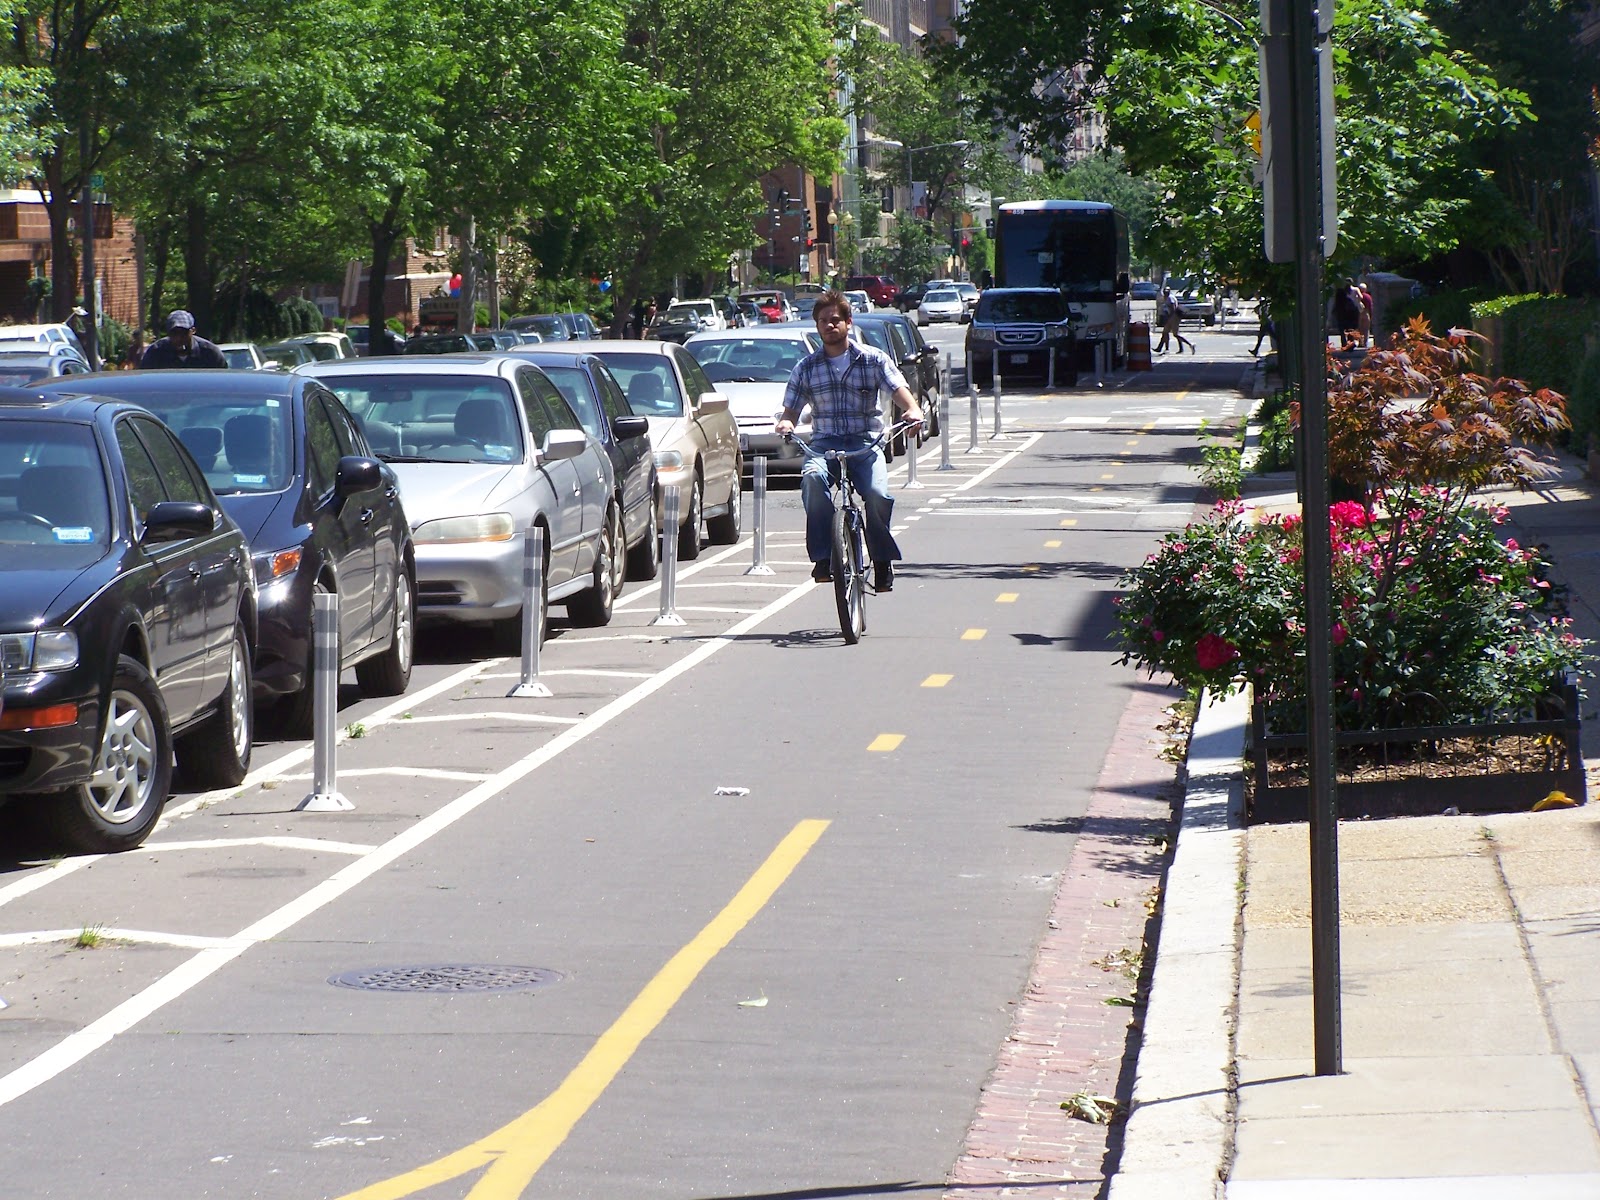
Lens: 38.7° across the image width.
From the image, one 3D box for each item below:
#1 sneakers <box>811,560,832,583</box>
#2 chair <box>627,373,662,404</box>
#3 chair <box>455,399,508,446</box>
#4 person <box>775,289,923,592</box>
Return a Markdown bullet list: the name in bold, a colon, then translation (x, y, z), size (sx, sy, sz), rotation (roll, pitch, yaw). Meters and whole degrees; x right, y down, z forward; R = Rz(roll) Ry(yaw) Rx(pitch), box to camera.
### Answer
- **sneakers**: translation (0.143, -0.217, 15.535), size (0.137, 0.155, 0.085), rotation (-2, 10, 3)
- **chair**: translation (-1.482, -2.067, 21.691), size (0.278, 0.304, 0.342), rotation (3, -6, 2)
- **chair**: translation (-2.185, -1.271, 15.745), size (0.450, 0.289, 0.235), rotation (4, 11, 31)
- **person**: translation (0.341, -1.067, 15.663), size (0.946, 2.153, 1.168), rotation (2, 10, 22)
